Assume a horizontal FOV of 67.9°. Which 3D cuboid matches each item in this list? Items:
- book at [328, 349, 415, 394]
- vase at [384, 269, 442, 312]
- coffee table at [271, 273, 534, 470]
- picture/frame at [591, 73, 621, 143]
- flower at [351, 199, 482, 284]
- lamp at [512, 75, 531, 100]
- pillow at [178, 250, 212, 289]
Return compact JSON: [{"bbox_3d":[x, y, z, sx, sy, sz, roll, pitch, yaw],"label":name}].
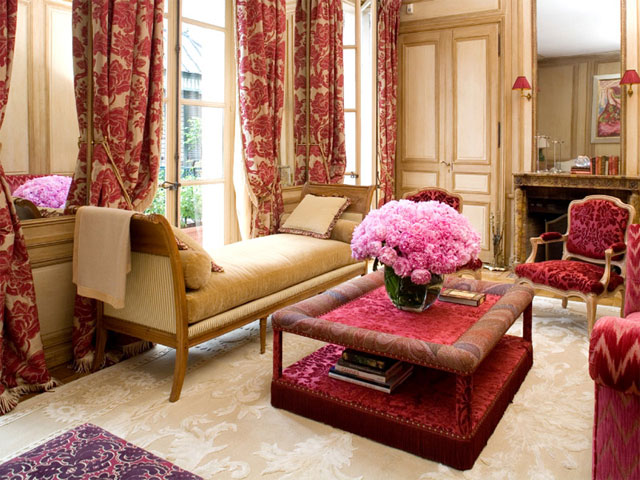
[{"bbox_3d":[0.270,0.723,2.685,0.253,0.096,0.271,8,10,36],"label":"book"},{"bbox_3d":[0.541,0.316,2.852,0.277,0.212,0.277,1,1,5],"label":"vase"},{"bbox_3d":[0.558,0.649,3.004,1.226,0.591,1.398,8,14,34],"label":"coffee table"},{"bbox_3d":[3.172,-1.455,5.273,0.289,0.733,0.123,4,12,17],"label":"picture/frame"},{"bbox_3d":[0.587,-0.060,2.855,0.544,0.393,0.564,3,10,17],"label":"flower"},{"bbox_3d":[2.403,-1.834,5.683,0.229,0.308,0.232,8,14,32],"label":"lamp"},{"bbox_3d":[-0.780,0.175,2.961,0.196,0.219,0.249,-2,0,10],"label":"pillow"}]
